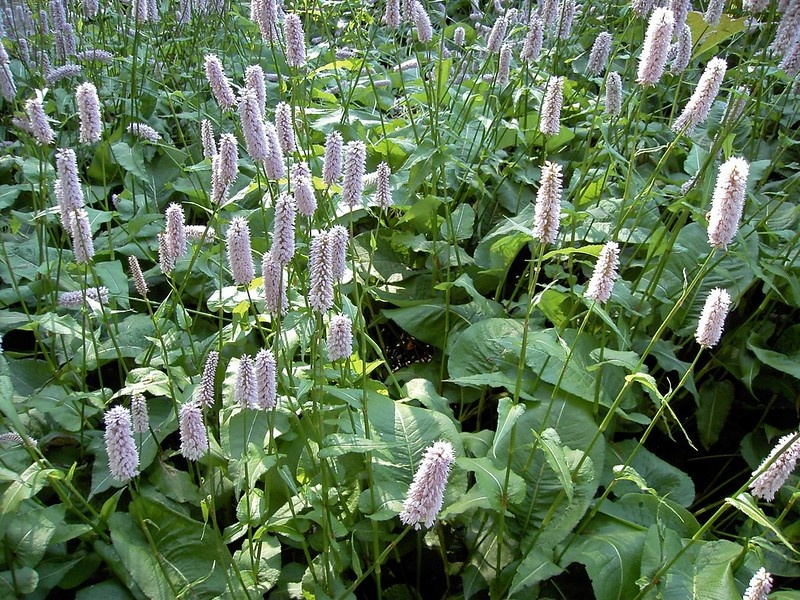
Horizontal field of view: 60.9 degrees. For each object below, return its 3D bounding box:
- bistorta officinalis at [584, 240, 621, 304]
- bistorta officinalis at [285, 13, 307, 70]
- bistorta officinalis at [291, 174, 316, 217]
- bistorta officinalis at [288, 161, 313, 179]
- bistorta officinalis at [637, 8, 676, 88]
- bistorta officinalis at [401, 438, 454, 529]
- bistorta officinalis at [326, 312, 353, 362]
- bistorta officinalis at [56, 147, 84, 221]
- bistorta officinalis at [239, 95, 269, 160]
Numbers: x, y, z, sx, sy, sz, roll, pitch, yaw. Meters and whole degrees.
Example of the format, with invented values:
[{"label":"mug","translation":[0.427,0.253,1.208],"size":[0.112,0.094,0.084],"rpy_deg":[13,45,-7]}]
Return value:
[{"label":"bistorta officinalis","translation":[0.882,-0.104,2.961],"size":[0.115,0.337,0.187],"rpy_deg":[15,30,17]},{"label":"bistorta officinalis","translation":[-0.539,-1.324,3.496],"size":[0.096,0.266,0.170],"rpy_deg":[-1,29,-11]},{"label":"bistorta officinalis","translation":[-0.423,-0.450,2.992],"size":[0.099,0.224,0.147],"rpy_deg":[0,29,-10]},{"label":"bistorta officinalis","translation":[-0.434,-0.562,3.016],"size":[0.096,0.103,0.116],"rpy_deg":[4,-5,-1]},{"label":"bistorta officinalis","translation":[1.265,-1.239,3.360],"size":[0.125,0.356,0.303],"rpy_deg":[14,30,15]},{"label":"bistorta officinalis","translation":[0.101,0.741,2.618],"size":[0.160,0.453,0.218],"rpy_deg":[9,29,6]},{"label":"bistorta officinalis","translation":[-0.261,0.158,2.937],"size":[0.125,0.214,0.123],"rpy_deg":[21,40,24]},{"label":"bistorta officinalis","translation":[-1.536,-0.537,3.158],"size":[0.096,0.321,0.182],"rpy_deg":[-10,32,-26]},{"label":"bistorta officinalis","translation":[-0.659,-0.776,3.077],"size":[0.118,0.318,0.235],"rpy_deg":[-2,29,-13]}]
